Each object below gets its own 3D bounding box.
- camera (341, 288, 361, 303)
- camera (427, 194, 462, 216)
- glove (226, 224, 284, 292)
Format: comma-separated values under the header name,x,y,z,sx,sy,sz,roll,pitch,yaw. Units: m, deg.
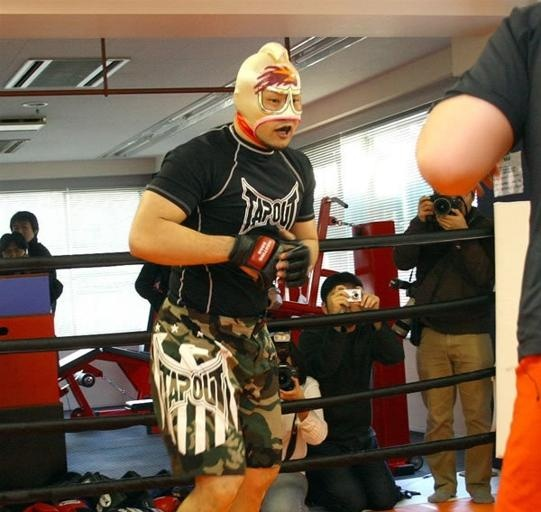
name,x,y,z,sx,sy,sz,roll,pitch,yaw
camera,0.365,0.170,2.205,0.069,0.058,0.122,-1,0,29
camera,0.888,-0.270,2.593,0.210,0.159,0.083,1,20,12
glove,-0.027,0.018,1.133,0.136,0.050,0.127,24,-27,-5
